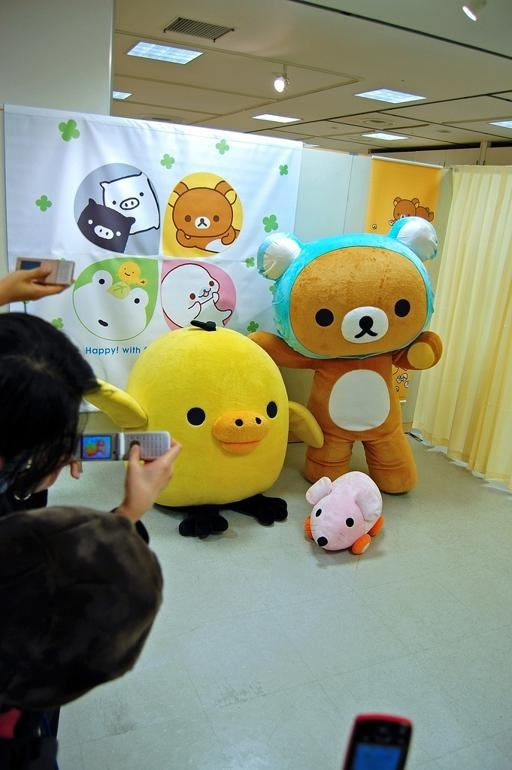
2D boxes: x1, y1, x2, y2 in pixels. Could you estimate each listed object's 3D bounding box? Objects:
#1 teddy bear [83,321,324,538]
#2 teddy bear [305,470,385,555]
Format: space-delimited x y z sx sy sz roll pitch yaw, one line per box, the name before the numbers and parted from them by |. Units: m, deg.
teddy bear | -0.243 0.184 2.692 1.260 0.945 0.737 -2 9 -24
teddy bear | 0.398 0.558 2.465 0.287 0.249 0.391 13 29 32
